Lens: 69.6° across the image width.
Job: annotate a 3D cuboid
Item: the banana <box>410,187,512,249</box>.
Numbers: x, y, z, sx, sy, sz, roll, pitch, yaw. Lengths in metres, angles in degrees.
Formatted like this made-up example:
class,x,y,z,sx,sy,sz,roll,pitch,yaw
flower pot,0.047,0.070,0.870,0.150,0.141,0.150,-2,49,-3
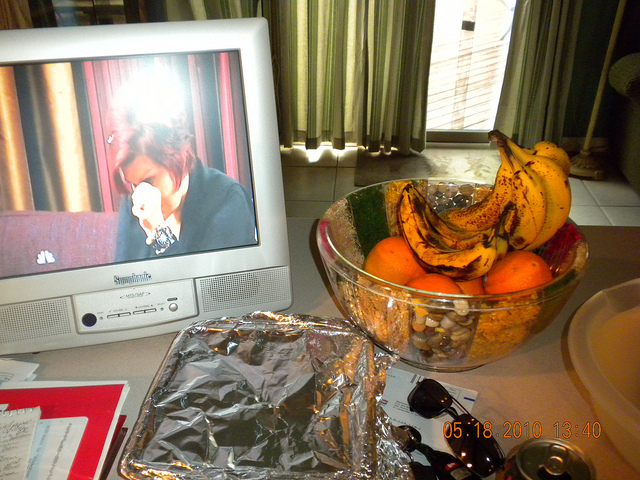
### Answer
class,x,y,z,sx,sy,sz,roll,pitch,yaw
banana,0.204,-0.031,0.663,0.105,0.062,0.025,-1,-7,25

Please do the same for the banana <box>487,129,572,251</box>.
class,x,y,z,sx,sy,sz,roll,pitch,yaw
banana,0.281,-0.054,0.667,0.138,0.250,0.080,-3,61,18

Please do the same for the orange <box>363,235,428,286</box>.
class,x,y,z,sx,sy,sz,roll,pitch,yaw
orange,0.102,0.031,0.638,0.075,0.071,0.084,6,38,-7

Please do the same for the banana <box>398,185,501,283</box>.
class,x,y,z,sx,sy,sz,roll,pitch,yaw
banana,0.165,-0.007,0.620,0.055,0.101,0.159,-16,38,-27

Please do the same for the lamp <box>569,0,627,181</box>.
class,x,y,z,sx,sy,sz,roll,pitch,yaw
lamp,1.526,-0.791,2.448,0.213,0.878,0.369,11,34,27

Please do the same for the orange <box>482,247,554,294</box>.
class,x,y,z,sx,sy,sz,roll,pitch,yaw
orange,0.250,0.041,0.585,0.068,0.067,0.065,-25,59,33

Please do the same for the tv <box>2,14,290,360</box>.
class,x,y,z,sx,sy,sz,roll,pitch,yaw
tv,-0.248,-0.066,0.635,0.453,0.433,0.210,-6,24,-15

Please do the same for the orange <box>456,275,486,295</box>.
class,x,y,z,sx,sy,sz,roll,pitch,yaw
orange,0.207,0.061,0.614,0.028,0.018,0.033,0,9,7

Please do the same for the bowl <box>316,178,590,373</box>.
class,x,y,z,sx,sy,sz,roll,pitch,yaw
bowl,0.189,0.039,0.713,0.381,0.197,0.360,-5,32,3
